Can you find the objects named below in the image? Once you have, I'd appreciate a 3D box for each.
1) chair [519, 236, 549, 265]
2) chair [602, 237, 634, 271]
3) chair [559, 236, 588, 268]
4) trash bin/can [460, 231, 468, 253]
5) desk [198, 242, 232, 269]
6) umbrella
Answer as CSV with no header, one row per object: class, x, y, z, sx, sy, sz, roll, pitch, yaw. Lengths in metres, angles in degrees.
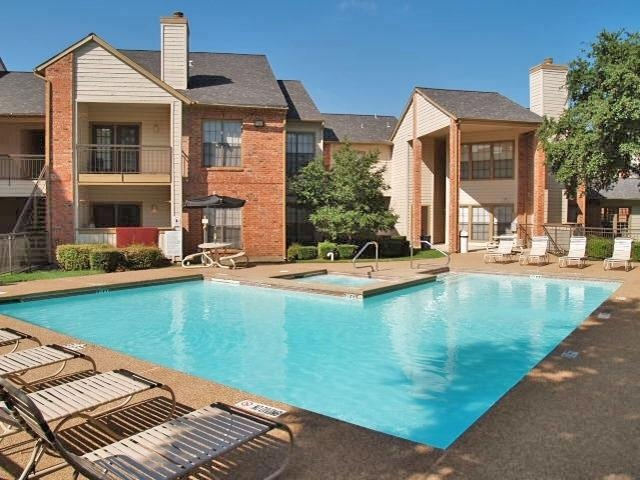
chair,8.208,0.417,20.392,0.832,1.020,1.970,0,2,25
chair,10.337,0.484,18.549,0.818,1.035,2.002,1,2,29
chair,9.287,0.447,19.734,0.850,1.049,2.401,0,2,23
trash bin/can,6.814,0.129,25.407,0.350,0.983,0.594,0,2,14
desk,-3.978,0.588,19.712,1.092,0.775,1.894,-7,9,-40
umbrella,-4.091,-0.784,20.890,2.563,1.720,2.543,-10,12,-44
